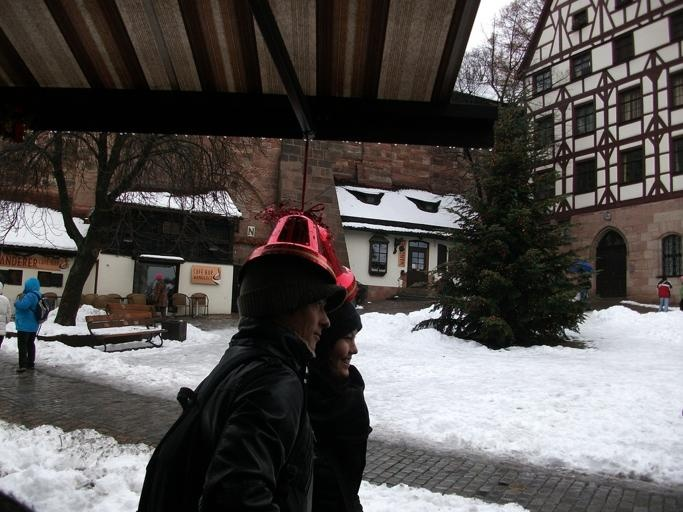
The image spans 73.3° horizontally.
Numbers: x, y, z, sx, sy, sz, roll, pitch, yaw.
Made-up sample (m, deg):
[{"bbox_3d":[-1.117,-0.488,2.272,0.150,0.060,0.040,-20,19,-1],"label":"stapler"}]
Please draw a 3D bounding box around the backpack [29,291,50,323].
[{"bbox_3d":[-6.678,1.193,10.173,0.227,0.613,0.350,0,1,-34],"label":"backpack"}]

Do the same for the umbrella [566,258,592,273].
[{"bbox_3d":[8.202,0.357,15.829,0.571,0.248,0.563,6,-7,-15],"label":"umbrella"}]

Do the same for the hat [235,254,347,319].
[{"bbox_3d":[-0.209,0.110,1.749,0.328,0.180,0.228,-5,-7,-8],"label":"hat"}]

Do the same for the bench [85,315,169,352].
[{"bbox_3d":[-6.590,2.335,14.120,0.795,0.945,2.270,8,0,26],"label":"bench"}]

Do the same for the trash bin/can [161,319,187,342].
[{"bbox_3d":[-5.596,2.477,15.548,0.876,0.832,0.642,2,3,29],"label":"trash bin/can"}]
